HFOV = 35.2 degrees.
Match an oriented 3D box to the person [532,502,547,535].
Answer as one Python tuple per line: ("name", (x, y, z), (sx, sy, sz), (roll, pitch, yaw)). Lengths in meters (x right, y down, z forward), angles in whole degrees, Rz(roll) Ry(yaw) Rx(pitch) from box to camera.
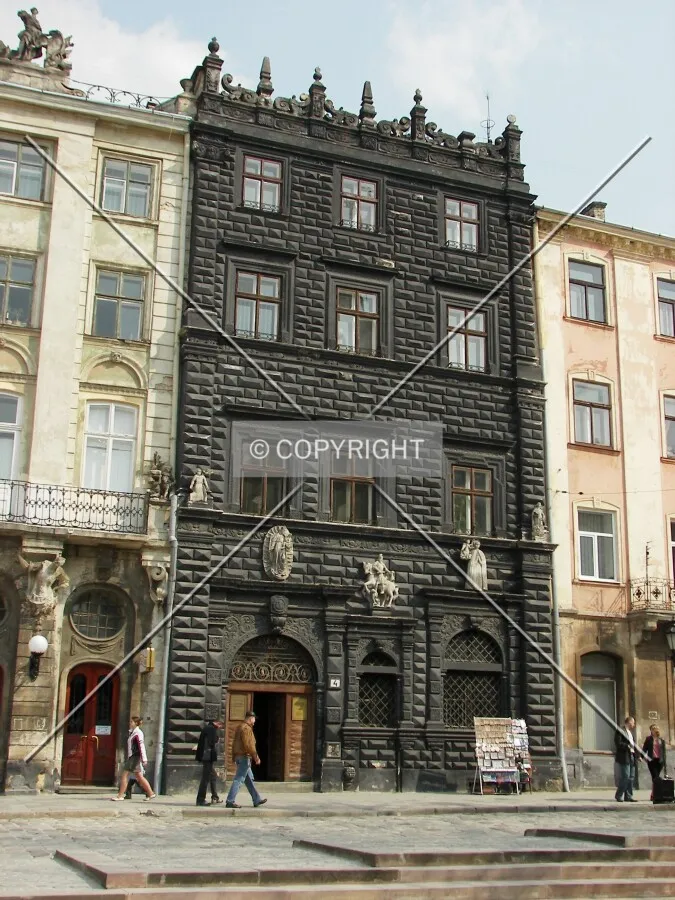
("person", (5.315, 1.843, 27.907), (0.567, 1.029, 0.204), (13, -19, -40))

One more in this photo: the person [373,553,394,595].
("person", (1.137, 3.013, 25.556), (0.278, 1.025, 0.531), (-13, -20, 42))

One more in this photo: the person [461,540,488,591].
("person", (3.392, 2.871, 26.683), (0.638, 1.322, 0.292), (0, -15, 0))

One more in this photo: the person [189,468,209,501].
("person", (-3.106, 0.801, 24.154), (0.536, 0.901, 0.295), (6, -16, -22))
